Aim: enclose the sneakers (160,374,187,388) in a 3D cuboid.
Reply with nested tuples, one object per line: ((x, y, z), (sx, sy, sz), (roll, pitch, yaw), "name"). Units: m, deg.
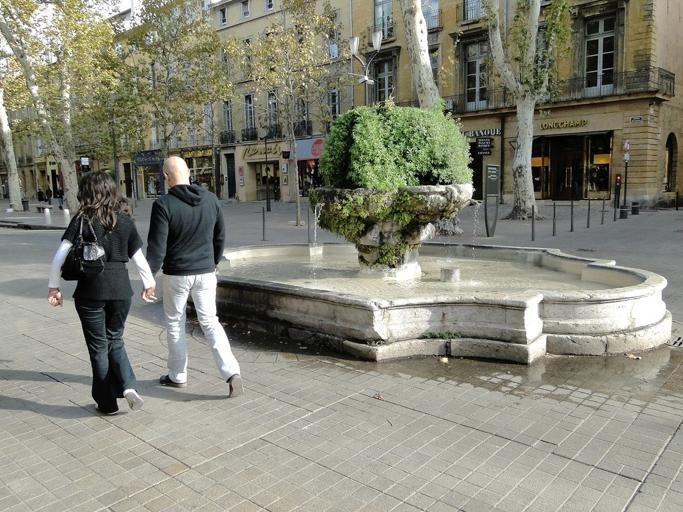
((-1.648, 1.254, 5.082), (0.265, 0.088, 0.111), (7, 6, 34), "sneakers")

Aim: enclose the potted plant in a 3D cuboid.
((0.774, -1.037, 8.118), (2.446, 2.389, 2.500), (3, 9, 30), "potted plant")

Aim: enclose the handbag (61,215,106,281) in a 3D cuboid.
((-2.138, -0.063, 4.246), (0.338, 0.538, 0.193), (-7, 12, -27), "handbag")

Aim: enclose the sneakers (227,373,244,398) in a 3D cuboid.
((-0.986, 1.222, 4.774), (0.117, 0.227, 0.139), (4, 0, -15), "sneakers")

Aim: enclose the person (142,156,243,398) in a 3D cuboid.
((-1.415, 0.187, 4.824), (0.788, 2.248, 0.659), (-4, 11, -10), "person")

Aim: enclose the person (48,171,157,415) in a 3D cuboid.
((-2.038, 0.342, 4.439), (0.823, 2.124, 0.413), (-7, 12, -28), "person")
